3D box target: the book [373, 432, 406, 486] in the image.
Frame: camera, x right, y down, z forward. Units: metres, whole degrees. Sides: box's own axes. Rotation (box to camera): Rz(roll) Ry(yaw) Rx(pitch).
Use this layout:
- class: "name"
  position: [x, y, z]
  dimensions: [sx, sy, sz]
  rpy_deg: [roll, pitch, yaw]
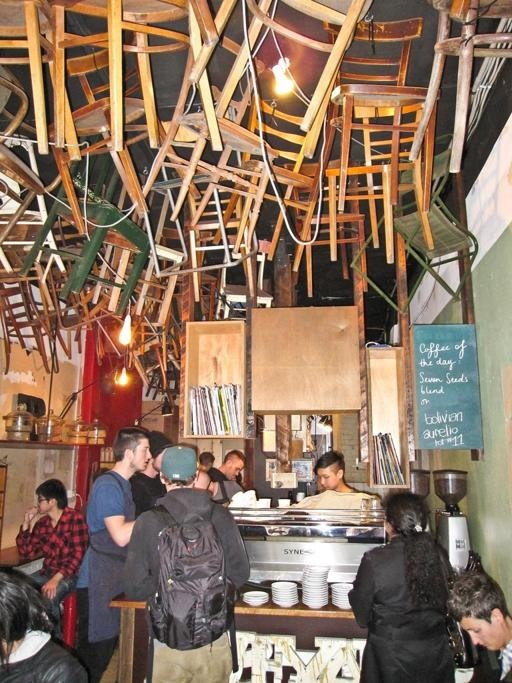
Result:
- class: "book"
  position: [0.888, 0.774, 3.542]
  dimensions: [0.216, 0.284, 0.076]
  rpy_deg: [0, -26, -5]

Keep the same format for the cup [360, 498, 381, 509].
- class: "cup"
  position: [0.656, 0.929, 3.044]
  dimensions: [0.097, 0.050, 0.061]
  rpy_deg: [3, -5, 13]

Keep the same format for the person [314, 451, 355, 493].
- class: "person"
  position: [0.568, 1.003, 4.040]
  dimensions: [0.256, 0.318, 0.763]
  rpy_deg: [-4, -11, 5]

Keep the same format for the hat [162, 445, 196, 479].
- class: "hat"
  position: [-0.358, 0.550, 2.510]
  dimensions: [0.116, 0.065, 0.169]
  rpy_deg: [2, 28, -2]

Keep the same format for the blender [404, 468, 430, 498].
- class: "blender"
  position: [1.124, 0.989, 3.776]
  dimensions: [0.210, 0.213, 0.204]
  rpy_deg: [1, -26, 3]

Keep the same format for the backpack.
- class: "backpack"
  position: [-0.287, 1.094, 2.323]
  dimensions: [0.389, 0.742, 0.330]
  rpy_deg: [-1, -12, -10]

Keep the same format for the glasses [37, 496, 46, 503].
- class: "glasses"
  position: [-1.517, 1.118, 3.762]
  dimensions: [0.057, 0.041, 0.055]
  rpy_deg: [6, -16, -19]
